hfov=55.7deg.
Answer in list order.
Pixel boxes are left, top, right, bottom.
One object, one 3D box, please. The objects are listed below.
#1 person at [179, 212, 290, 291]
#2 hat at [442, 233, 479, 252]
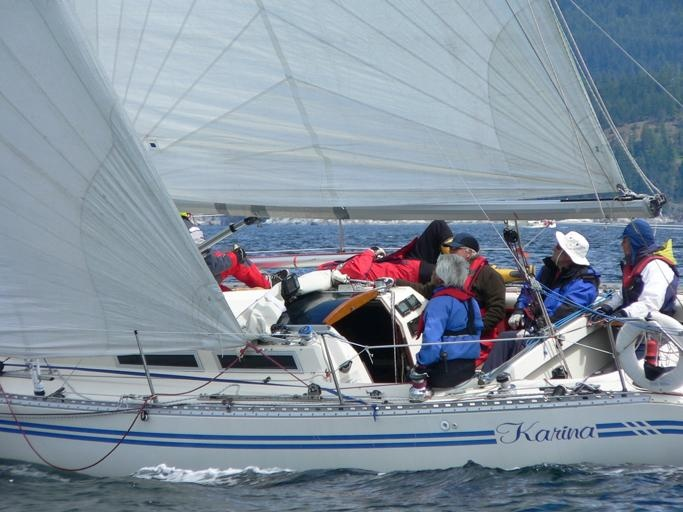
[{"bbox_3d":[-1.042,0.029,6.070,0.651,0.715,0.454,-24,12,-13],"label":"person"},{"bbox_3d":[0.955,-0.113,5.156,0.295,0.081,0.155,2,0,-1],"label":"hat"}]
